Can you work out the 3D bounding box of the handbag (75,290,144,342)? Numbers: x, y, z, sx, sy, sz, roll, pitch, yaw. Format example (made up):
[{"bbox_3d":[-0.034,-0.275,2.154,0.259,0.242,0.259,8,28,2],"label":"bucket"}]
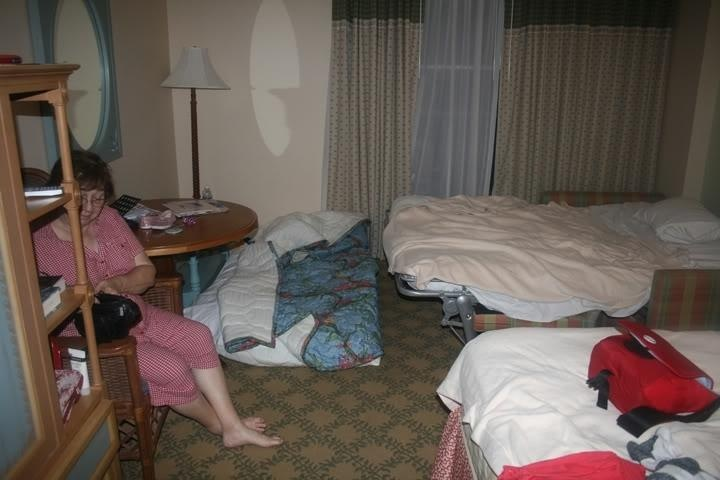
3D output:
[{"bbox_3d":[-1.236,0.391,2.626,0.289,0.190,0.207,-8,20,-3],"label":"handbag"}]

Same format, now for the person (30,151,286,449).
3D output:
[{"bbox_3d":[-1.068,0.335,2.796,1.573,1.480,0.596,9,22,19],"label":"person"}]

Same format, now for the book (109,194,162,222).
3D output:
[{"bbox_3d":[-1.629,-0.228,3.780,0.262,0.061,0.237,32,12,26],"label":"book"}]

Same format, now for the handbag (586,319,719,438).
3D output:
[{"bbox_3d":[1.280,0.623,2.337,0.362,0.187,0.476,-23,29,-14],"label":"handbag"}]
